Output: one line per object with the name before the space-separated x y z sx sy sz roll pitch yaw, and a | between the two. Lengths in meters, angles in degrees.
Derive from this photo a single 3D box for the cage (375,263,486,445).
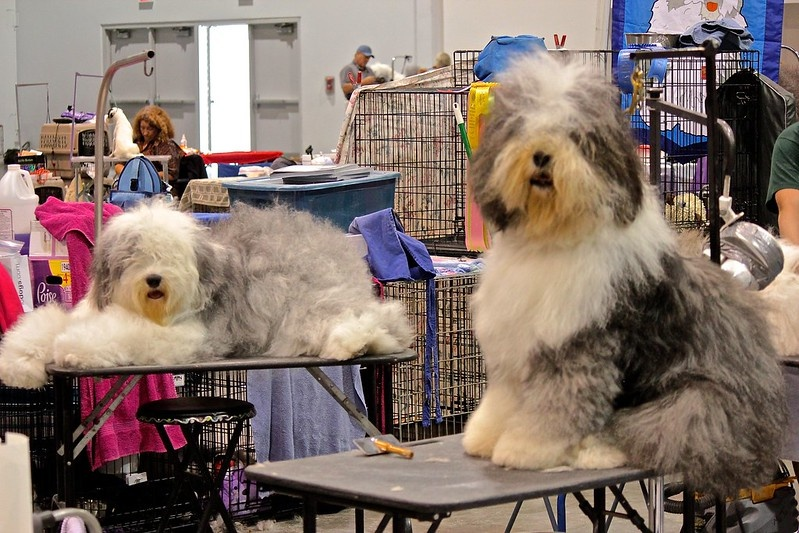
cage | 0.397 0.532 7.692 0.630 0.912 1.122 -1 -7 16

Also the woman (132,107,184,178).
woman | -2.527 -1.235 11.552 0.467 0.762 0.742 -13 21 -14

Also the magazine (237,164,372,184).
magazine | -0.500 -0.599 7.251 0.662 0.133 0.475 -3 3 -7

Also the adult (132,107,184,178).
adult | -2.534 -1.228 11.584 0.518 0.804 0.784 -10 27 -12

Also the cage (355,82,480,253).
cage | 0.065 -0.877 8.767 1.002 1.051 0.586 4 3 -1
